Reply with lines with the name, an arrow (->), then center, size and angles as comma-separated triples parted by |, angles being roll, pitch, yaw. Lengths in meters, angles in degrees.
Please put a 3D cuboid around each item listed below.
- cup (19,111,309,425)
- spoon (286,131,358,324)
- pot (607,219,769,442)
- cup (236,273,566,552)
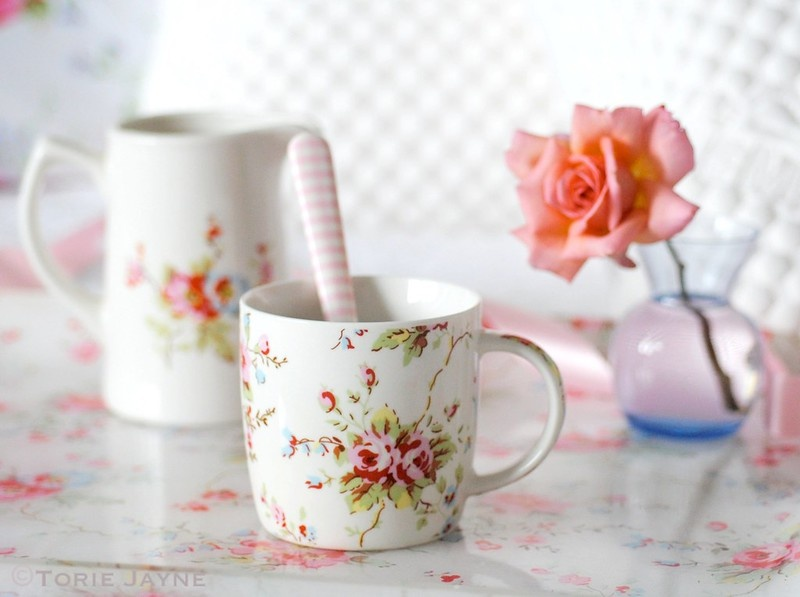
cup -> -0.197, -0.016, 0.648 | 0.233, 0.224, 0.134 | 0, 3, 6
spoon -> -0.054, -0.042, 0.539 | 0.032, 0.139, 0.018 | -14, -3, -8
pot -> 0.233, 0.019, 0.651 | 0.123, 0.165, 0.123 | 1, 13, 0
cup -> 0.012, 0.079, 0.515 | 0.207, 0.135, 0.132 | 0, -1, -15
